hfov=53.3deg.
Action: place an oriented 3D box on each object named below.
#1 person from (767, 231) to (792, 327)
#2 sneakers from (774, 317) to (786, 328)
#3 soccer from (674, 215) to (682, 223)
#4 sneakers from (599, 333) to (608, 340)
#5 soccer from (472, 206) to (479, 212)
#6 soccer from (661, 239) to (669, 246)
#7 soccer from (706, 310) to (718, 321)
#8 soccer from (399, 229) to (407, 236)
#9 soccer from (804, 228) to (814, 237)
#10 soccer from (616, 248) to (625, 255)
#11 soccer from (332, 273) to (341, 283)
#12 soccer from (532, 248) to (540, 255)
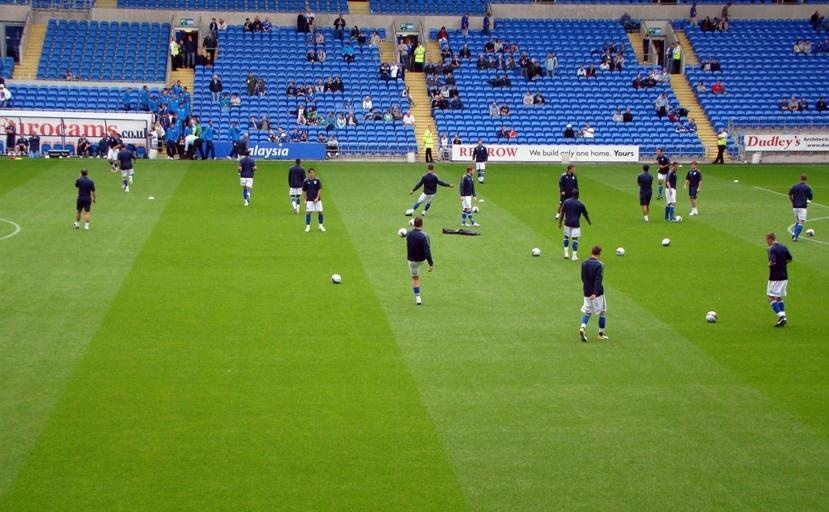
[{"bbox_3d":[11.580,0.641,26.222,0.784,2.955,1.288,6,14,24],"label":"person"},{"bbox_3d":[11.577,2.062,26.004,0.176,0.226,0.484,3,13,6],"label":"sneakers"},{"bbox_3d":[12.809,-1.778,39.863,0.352,0.188,0.350,24,46,27],"label":"soccer"},{"bbox_3d":[5.744,2.423,25.089,0.307,0.198,0.145,-2,15,-5],"label":"sneakers"},{"bbox_3d":[3.090,-2.372,41.365,0.308,0.161,0.300,-2,12,-8],"label":"soccer"},{"bbox_3d":[10.725,-0.629,35.208,0.338,0.256,0.569,4,14,17],"label":"soccer"},{"bbox_3d":[9.634,1.904,26.607,0.288,0.316,0.376,-2,9,4],"label":"soccer"},{"bbox_3d":[-0.477,-1.105,35.685,0.401,0.305,0.393,-14,-4,-4],"label":"soccer"},{"bbox_3d":[17.937,-1.098,37.212,0.385,0.404,0.505,0,-2,-3],"label":"soccer"},{"bbox_3d":[8.443,-0.205,33.625,0.276,0.264,0.324,-2,51,5],"label":"soccer"},{"bbox_3d":[-2.794,0.777,29.519,0.374,0.269,0.497,-1,13,-4],"label":"soccer"},{"bbox_3d":[4.960,-0.161,33.235,0.283,0.237,0.216,19,9,-8],"label":"soccer"}]
